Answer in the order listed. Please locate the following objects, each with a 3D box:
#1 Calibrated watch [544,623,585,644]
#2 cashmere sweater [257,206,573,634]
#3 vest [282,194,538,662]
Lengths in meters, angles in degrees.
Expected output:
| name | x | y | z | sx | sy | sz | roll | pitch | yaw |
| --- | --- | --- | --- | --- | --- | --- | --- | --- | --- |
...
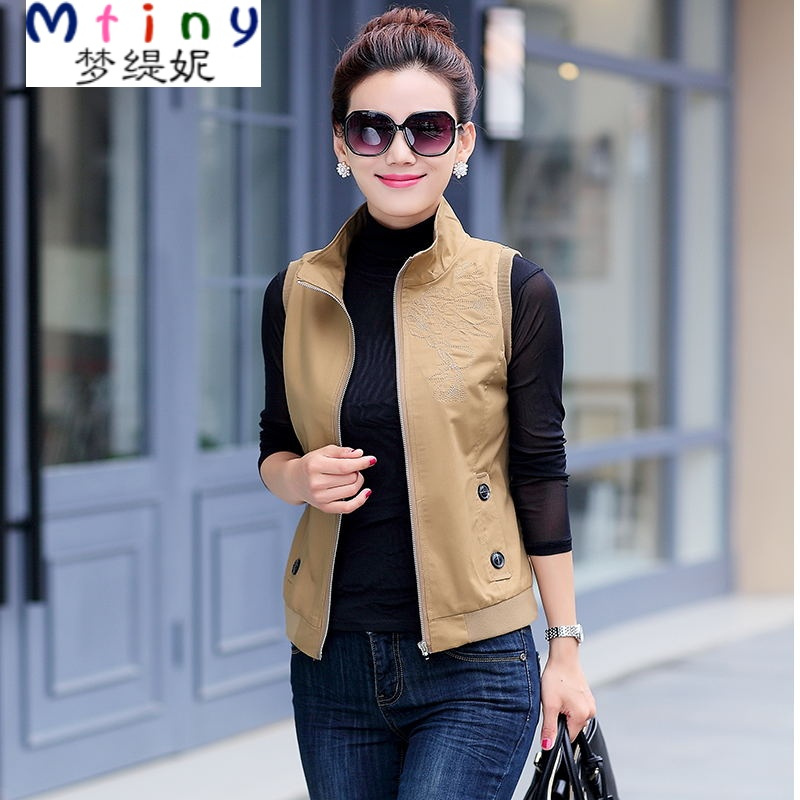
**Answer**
| name | x | y | z | sx | sy | sz | roll | pitch | yaw |
| --- | --- | --- | --- | --- | --- | --- | --- | --- | --- |
| Calibrated watch | 0.275 | 0.384 | 1.865 | 0.053 | 0.035 | 0.057 | -4 | -16 | 7 |
| cashmere sweater | 0.187 | 0.031 | 1.979 | 0.418 | 0.651 | 0.161 | -2 | 1 | 14 |
| vest | 0.014 | 0.045 | 1.878 | 0.430 | 0.738 | 0.252 | 0 | 4 | -1 |
